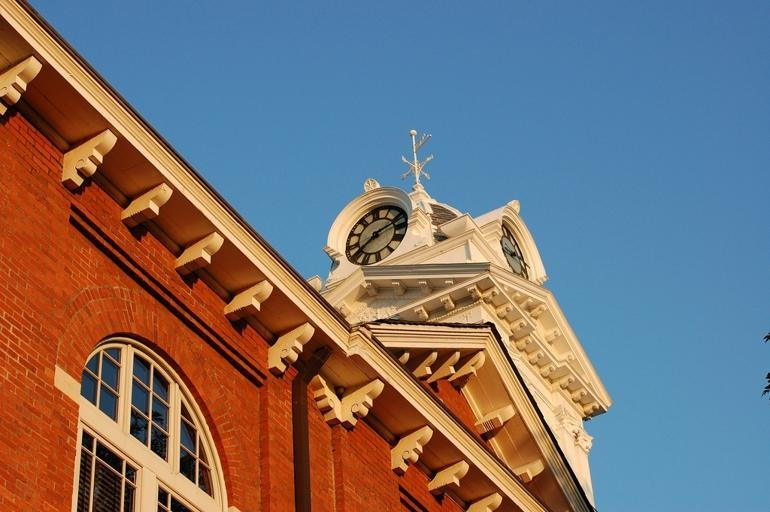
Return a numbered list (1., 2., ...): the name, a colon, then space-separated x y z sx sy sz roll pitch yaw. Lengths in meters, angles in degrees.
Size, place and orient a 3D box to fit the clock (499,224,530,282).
1. clock: 3.970 -0.084 51.381 0.140 1.306 1.294 -21 -55 20
